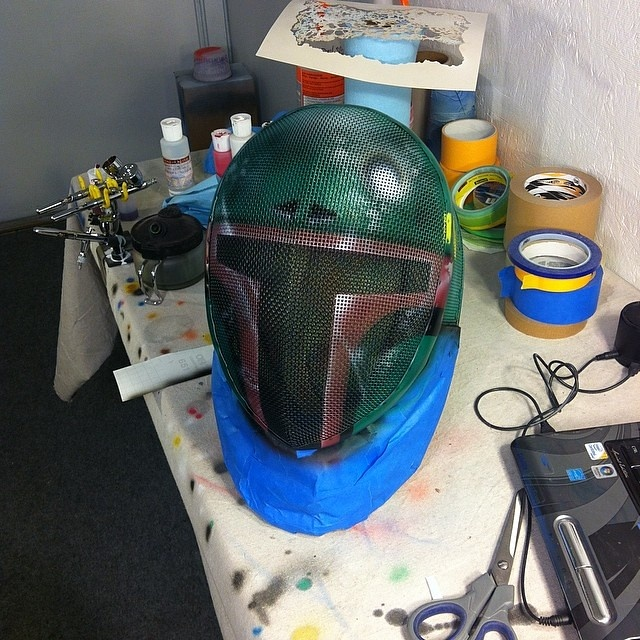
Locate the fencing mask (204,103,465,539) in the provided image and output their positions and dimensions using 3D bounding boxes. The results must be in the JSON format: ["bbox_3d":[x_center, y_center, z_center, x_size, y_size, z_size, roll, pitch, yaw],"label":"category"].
[{"bbox_3d":[0.009,-0.019,0.521,0.216,0.298,0.298,3,31,9],"label":"fencing mask"}]
